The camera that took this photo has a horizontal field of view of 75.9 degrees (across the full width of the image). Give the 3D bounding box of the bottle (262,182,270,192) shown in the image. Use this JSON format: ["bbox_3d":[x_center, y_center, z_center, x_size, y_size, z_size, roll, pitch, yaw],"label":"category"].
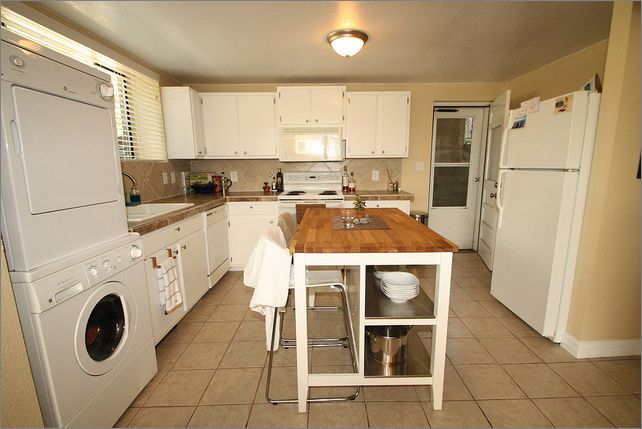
[{"bbox_3d":[-0.769,-0.373,5.728,0.144,0.176,0.068,-2,6,-9],"label":"bottle"}]

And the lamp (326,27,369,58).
[{"bbox_3d":[0.267,-1.694,4.086,0.415,0.200,0.189,-1,11,2],"label":"lamp"}]

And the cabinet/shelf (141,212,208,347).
[{"bbox_3d":[-1.390,0.626,3.839,0.390,0.927,1.088,-2,12,1],"label":"cabinet/shelf"}]

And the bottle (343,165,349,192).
[{"bbox_3d":[0.335,-0.496,5.698,0.091,0.336,0.173,-1,11,3],"label":"bottle"}]

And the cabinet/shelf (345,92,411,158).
[{"bbox_3d":[0.735,-1.191,5.366,0.830,0.745,0.284,0,12,1],"label":"cabinet/shelf"}]

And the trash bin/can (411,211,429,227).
[{"bbox_3d":[1.314,0.052,5.577,0.261,0.263,0.254,-2,9,-5],"label":"trash bin/can"}]

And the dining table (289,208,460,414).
[{"bbox_3d":[0.404,0.725,3.543,1.233,1.505,1.009,-2,11,0],"label":"dining table"}]

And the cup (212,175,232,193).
[{"bbox_3d":[-1.360,-0.418,5.615,0.203,0.265,0.271,-2,-5,-4],"label":"cup"}]

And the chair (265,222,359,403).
[{"bbox_3d":[-0.042,0.975,3.811,0.830,1.213,0.806,-6,11,6],"label":"chair"}]

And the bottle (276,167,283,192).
[{"bbox_3d":[-0.572,-0.472,5.728,0.083,0.310,0.134,6,14,33],"label":"bottle"}]

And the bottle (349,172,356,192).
[{"bbox_3d":[0.428,-0.437,5.680,0.087,0.253,0.242,-1,11,5],"label":"bottle"}]

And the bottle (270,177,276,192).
[{"bbox_3d":[-0.673,-0.415,5.750,0.070,0.181,0.114,-3,11,-7],"label":"bottle"}]

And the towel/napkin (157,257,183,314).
[{"bbox_3d":[-1.380,0.655,3.726,0.093,0.481,0.217,2,12,16],"label":"towel/napkin"}]

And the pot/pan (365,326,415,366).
[{"bbox_3d":[0.560,1.083,3.387,0.314,0.206,0.304,1,12,7],"label":"pot/pan"}]

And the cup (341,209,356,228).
[{"bbox_3d":[0.236,0.050,3.597,0.134,0.148,0.157,1,3,4],"label":"cup"}]
